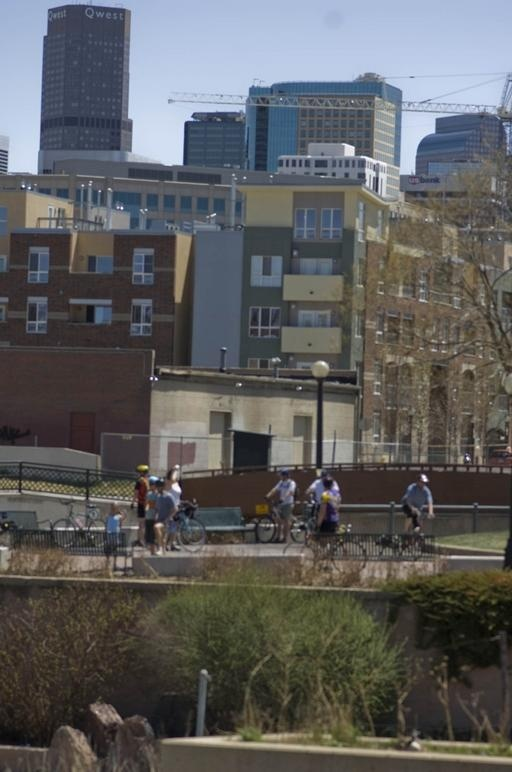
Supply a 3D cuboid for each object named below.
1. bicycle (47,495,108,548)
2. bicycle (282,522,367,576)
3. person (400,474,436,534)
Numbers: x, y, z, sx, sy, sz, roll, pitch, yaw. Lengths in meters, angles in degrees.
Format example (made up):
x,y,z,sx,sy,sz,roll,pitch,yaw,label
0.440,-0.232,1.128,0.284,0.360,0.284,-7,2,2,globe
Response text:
x,y,z,sx,sy,sz,roll,pitch,yaw,label
-3.823,2.882,41.171,1.256,1.056,0.693,3,-4,-18,bicycle
1.170,2.682,31.429,1.147,0.942,0.654,7,-1,14,bicycle
3.106,2.318,36.921,0.451,1.304,0.718,6,3,-4,person
